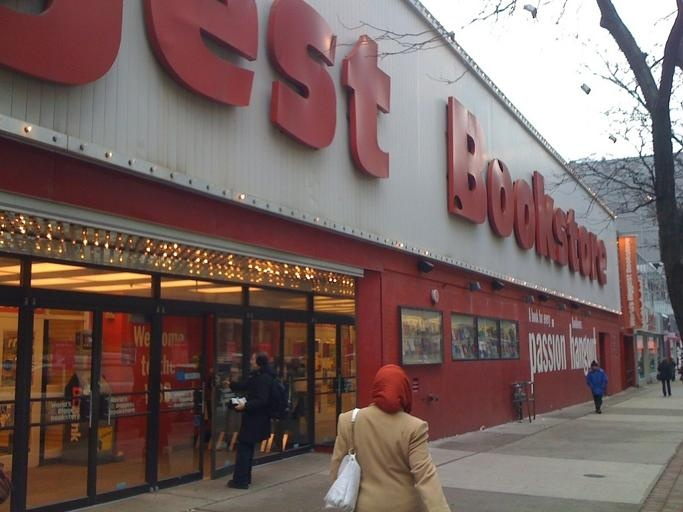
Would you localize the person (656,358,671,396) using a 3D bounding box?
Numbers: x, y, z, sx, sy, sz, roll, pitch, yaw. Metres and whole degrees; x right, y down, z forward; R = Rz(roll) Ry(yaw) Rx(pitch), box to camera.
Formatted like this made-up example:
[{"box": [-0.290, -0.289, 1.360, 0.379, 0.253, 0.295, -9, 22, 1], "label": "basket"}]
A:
[{"box": [16.138, 5.997, 32.535, 0.673, 1.800, 3.158, -2, -7, 26], "label": "person"}]

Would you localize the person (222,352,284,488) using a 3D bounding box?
[{"box": [-1.450, 2.812, 11.224, 0.938, 2.245, 0.372, 2, -5, -13], "label": "person"}]
